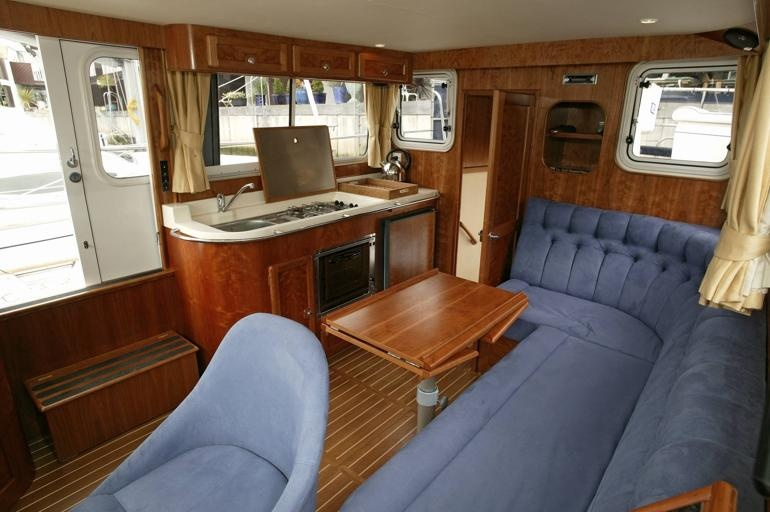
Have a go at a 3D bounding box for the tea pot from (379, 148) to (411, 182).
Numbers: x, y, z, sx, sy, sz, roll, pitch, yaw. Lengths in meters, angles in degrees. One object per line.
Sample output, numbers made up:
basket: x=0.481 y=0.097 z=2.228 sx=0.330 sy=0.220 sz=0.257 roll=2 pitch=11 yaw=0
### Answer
tea pot: x=0.102 y=-1.037 z=5.513 sx=0.294 sy=0.410 sz=0.394 roll=-5 pitch=26 yaw=-14

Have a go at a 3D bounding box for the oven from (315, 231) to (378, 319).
oven: x=-0.455 y=0.130 z=4.638 sx=0.402 sy=0.640 sz=0.769 roll=19 pitch=27 yaw=38

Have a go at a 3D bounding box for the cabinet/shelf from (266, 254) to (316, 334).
cabinet/shelf: x=-0.744 y=0.262 z=3.790 sx=0.138 sy=0.846 sz=0.318 roll=22 pitch=37 yaw=28

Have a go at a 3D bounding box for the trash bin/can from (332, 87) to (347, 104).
trash bin/can: x=-0.462 y=-1.693 z=5.135 sx=0.158 sy=0.155 sz=0.159 roll=-13 pitch=29 yaw=-24

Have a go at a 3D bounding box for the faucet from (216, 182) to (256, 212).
faucet: x=-1.342 y=-0.543 z=4.372 sx=0.317 sy=0.254 sz=0.407 roll=-8 pitch=22 yaw=-17

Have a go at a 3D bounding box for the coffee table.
coffee table: x=0.316 y=0.701 z=3.466 sx=1.038 sy=0.780 sz=1.264 roll=18 pitch=31 yaw=36
